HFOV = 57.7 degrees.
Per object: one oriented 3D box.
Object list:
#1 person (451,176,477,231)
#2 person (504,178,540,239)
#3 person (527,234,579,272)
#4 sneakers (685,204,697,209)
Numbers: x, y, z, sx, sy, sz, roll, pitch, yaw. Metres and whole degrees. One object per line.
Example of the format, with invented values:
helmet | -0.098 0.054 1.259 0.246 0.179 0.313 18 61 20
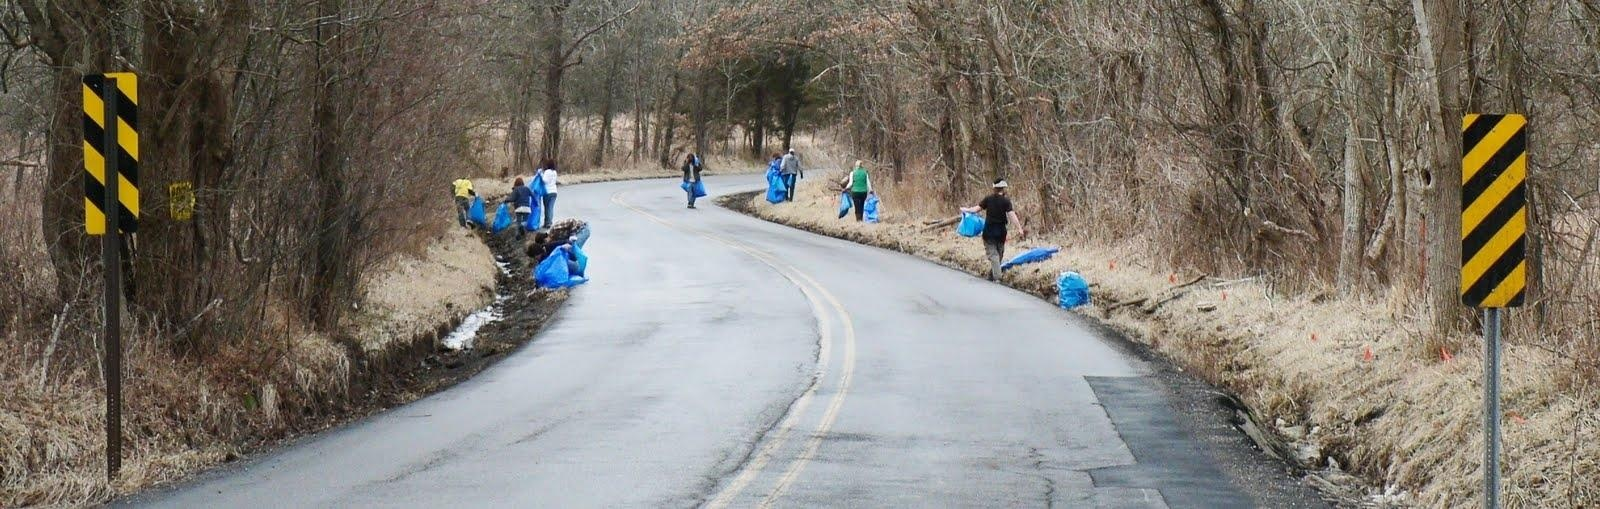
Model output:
person | -14.902 -2.333 64.055 0.954 2.119 1.465 -6 7 -11
person | -12.036 -2.047 62.538 0.864 2.562 1.596 -6 7 -9
person | -10.180 -0.180 57.569 1.762 0.566 1.968 -15 1 23
sneakers | -5.412 -2.387 72.695 0.167 0.203 0.527 48 24 27
